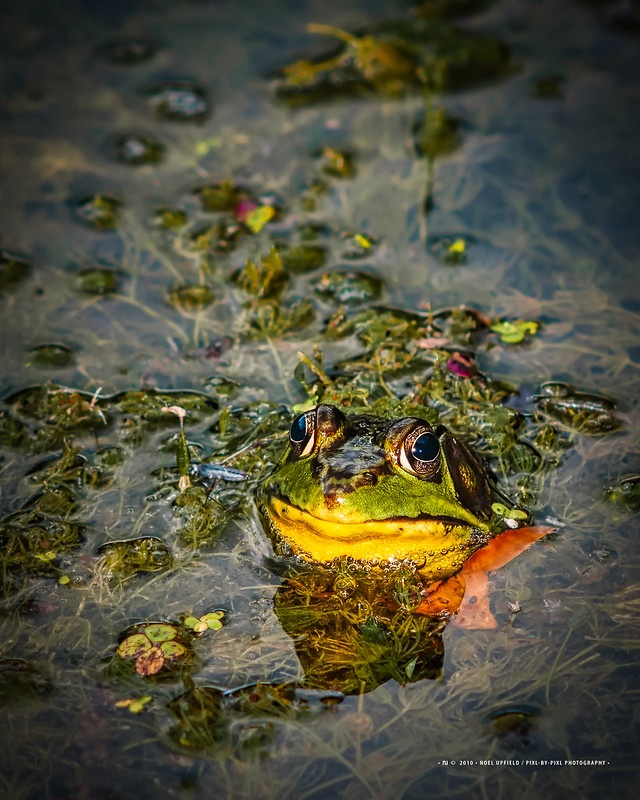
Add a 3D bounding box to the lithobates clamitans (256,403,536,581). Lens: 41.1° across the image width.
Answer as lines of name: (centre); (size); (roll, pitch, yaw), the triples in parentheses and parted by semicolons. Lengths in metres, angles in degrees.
lithobates clamitans: (0.190, 0.252, 2.963); (0.966, 0.428, 0.998); (11, 12, 28)
